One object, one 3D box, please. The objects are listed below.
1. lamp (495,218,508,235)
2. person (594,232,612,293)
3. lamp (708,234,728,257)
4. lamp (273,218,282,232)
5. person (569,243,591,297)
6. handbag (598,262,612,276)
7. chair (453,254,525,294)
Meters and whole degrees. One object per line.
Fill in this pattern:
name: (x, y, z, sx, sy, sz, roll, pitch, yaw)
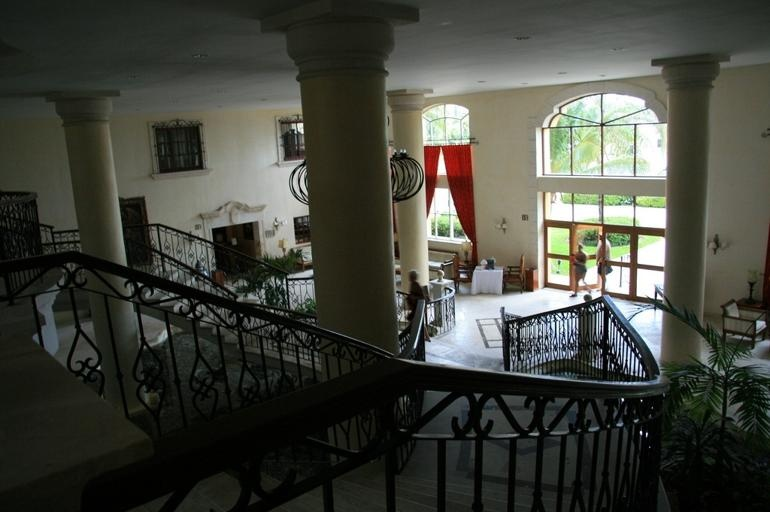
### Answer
lamp: (3.674, -0.966, 16.356, 0.430, 0.532, 0.116, 6, 12, 45)
person: (6.181, 0.193, 14.637, 0.173, 1.735, 0.415, -9, 11, -36)
lamp: (8.073, -0.260, 12.541, 0.423, 0.359, 0.421, 8, 25, 36)
lamp: (-3.802, -1.105, 18.253, 0.301, 0.412, 0.131, 7, -4, -13)
person: (5.625, 0.390, 14.941, 0.415, 1.486, 0.590, 1, 9, 21)
handbag: (6.203, 0.363, 14.697, 0.417, 0.449, 0.311, -9, 18, -2)
chair: (3.263, 0.557, 15.911, 2.125, 1.032, 1.298, -2, 9, 7)
